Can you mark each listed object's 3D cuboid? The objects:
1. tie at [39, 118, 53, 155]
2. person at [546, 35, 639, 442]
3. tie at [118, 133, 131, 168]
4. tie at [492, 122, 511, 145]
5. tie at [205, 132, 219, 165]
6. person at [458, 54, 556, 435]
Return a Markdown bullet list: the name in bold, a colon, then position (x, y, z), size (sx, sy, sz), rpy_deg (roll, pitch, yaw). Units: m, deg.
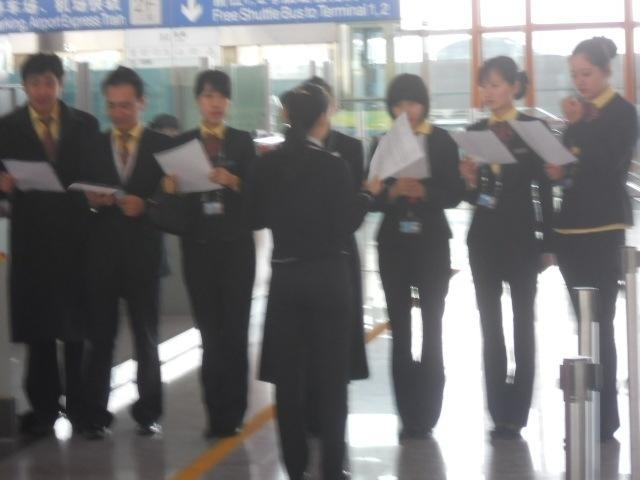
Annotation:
- **tie**: position (-1.530, -0.576, 3.775), size (0.070, 0.192, 0.021), rpy_deg (-10, 4, -11)
- **person**: position (1.435, -0.345, 3.600), size (0.426, 1.418, 0.284), rpy_deg (2, 10, 23)
- **tie**: position (-1.095, -0.507, 3.784), size (0.074, 0.171, 0.023), rpy_deg (-2, 9, 0)
- **tie**: position (0.991, -0.584, 3.705), size (0.093, 0.121, 0.039), rpy_deg (-24, 2, 33)
- **tie**: position (-0.598, -0.496, 3.760), size (0.103, 0.167, 0.076), rpy_deg (-3, 10, -8)
- **person**: position (1.017, 0.045, 3.805), size (0.389, 2.089, 0.403), rpy_deg (-9, 11, -34)
